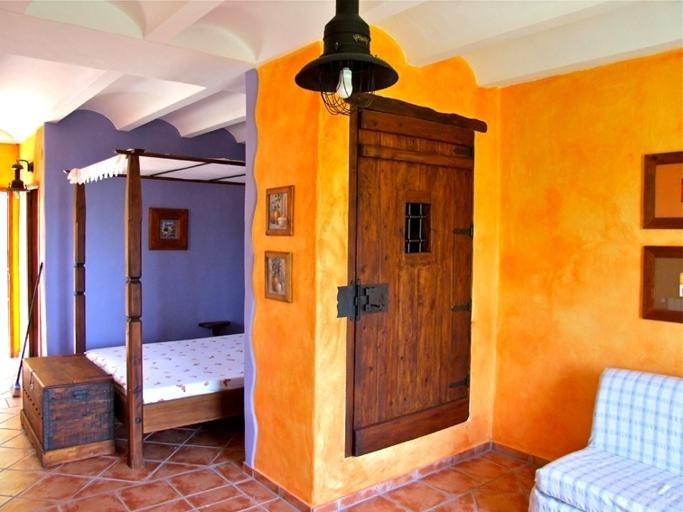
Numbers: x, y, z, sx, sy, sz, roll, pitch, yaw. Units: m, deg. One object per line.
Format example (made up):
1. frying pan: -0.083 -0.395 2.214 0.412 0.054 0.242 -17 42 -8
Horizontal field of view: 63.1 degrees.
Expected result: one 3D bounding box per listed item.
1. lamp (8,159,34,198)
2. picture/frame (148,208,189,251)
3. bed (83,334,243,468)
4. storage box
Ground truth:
1. lamp: -4.394 -1.087 7.612 0.285 0.460 0.789 -4 9 -31
2. picture/frame: -2.338 -0.368 7.403 0.536 0.605 0.063 -6 10 -39
3. bed: -1.770 1.253 6.072 1.893 0.365 1.996 4 6 -30
4. storage box: -2.614 1.171 5.337 0.708 0.736 1.352 3 1 -28
